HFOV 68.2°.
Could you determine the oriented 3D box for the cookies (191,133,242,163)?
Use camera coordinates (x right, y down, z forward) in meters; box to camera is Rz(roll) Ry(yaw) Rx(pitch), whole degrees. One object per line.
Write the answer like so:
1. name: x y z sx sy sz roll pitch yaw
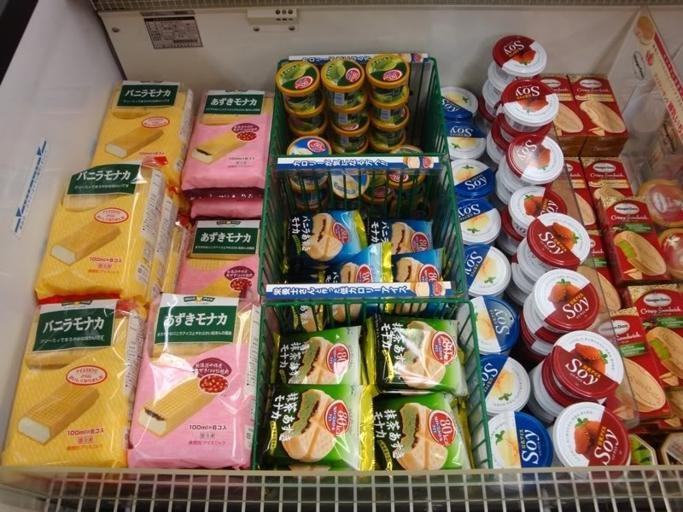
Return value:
1. cookies: -0.549 -0.446 2.250 0.206 0.047 0.116 -34 65 -10
